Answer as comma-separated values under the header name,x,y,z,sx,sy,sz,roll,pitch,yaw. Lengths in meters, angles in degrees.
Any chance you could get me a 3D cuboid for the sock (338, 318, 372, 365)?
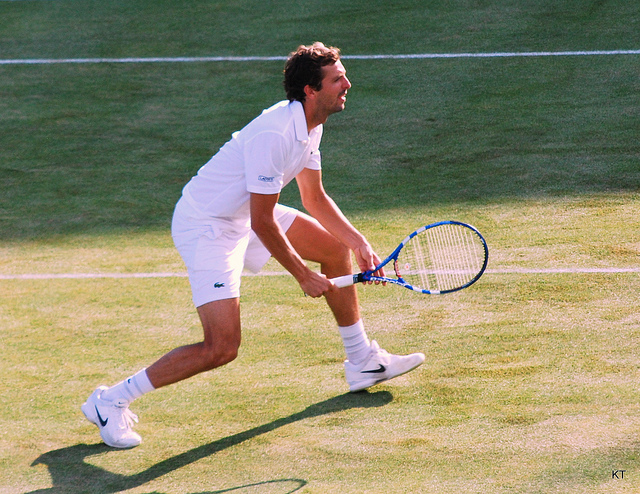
name,x,y,z,sx,sy,sz,roll,pitch,yaw
sock,0.267,0.700,9.020,0.215,0.305,0.151,-5,15,-3
